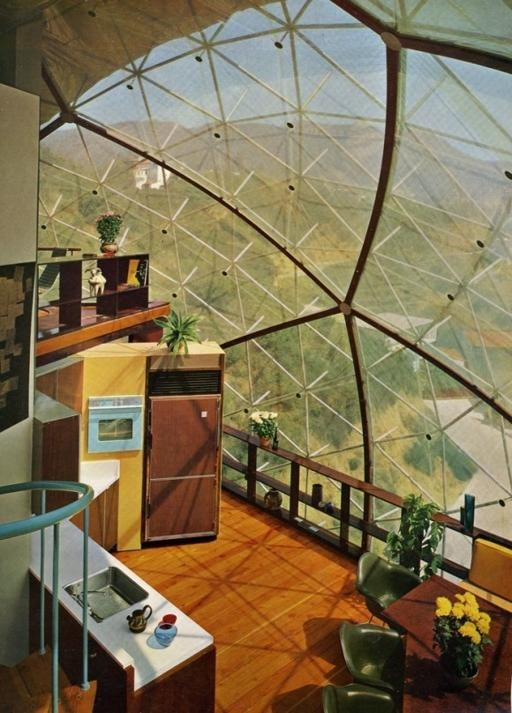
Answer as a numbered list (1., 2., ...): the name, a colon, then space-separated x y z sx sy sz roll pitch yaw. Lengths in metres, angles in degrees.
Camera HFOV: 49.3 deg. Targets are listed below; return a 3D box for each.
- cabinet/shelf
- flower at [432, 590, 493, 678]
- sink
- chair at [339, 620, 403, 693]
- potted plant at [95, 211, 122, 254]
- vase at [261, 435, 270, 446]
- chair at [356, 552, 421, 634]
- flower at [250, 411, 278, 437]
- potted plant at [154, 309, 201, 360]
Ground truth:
1. cabinet/shelf: -3.289 -1.332 11.238 1.452 1.399 3.998 2 9 -1
2. flower: 2.164 2.954 5.866 0.572 0.750 0.582 -11 17 -33
3. sink: -1.896 2.874 6.722 0.634 0.167 0.626 -5 16 -43
4. chair: 1.421 3.625 6.846 0.731 0.984 0.784 -3 37 14
5. potted plant: -3.547 -2.940 13.473 0.527 1.031 1.481 -1 10 -15
6. vase: 0.228 2.050 13.427 0.266 0.192 0.243 2 1 -33
7. chair: 1.923 3.495 8.053 0.916 0.944 0.865 -7 5 5
8. flower: 0.213 1.656 13.535 0.666 0.649 0.610 -1 -14 -6
9. potted plant: -1.530 -0.502 11.311 0.746 0.729 0.954 -4 -7 33
